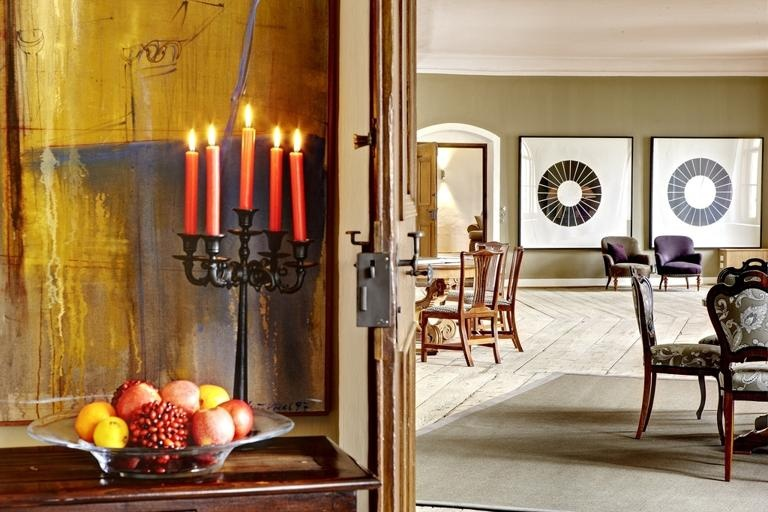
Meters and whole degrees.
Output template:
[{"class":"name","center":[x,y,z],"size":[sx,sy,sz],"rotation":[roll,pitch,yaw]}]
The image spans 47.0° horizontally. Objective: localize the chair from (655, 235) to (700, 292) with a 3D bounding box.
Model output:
[{"class":"chair","center":[3.950,0.053,12.092],"size":[0.717,0.764,0.765],"rotation":[0,-2,0]}]

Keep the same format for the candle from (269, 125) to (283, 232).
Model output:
[{"class":"candle","center":[-0.353,-0.247,2.870],"size":[0.050,0.349,0.048],"rotation":[3,-7,-26]}]

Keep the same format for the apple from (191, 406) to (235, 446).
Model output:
[{"class":"apple","center":[-0.481,0.487,2.489],"size":[0.131,0.107,0.122],"rotation":[3,-22,-25]}]

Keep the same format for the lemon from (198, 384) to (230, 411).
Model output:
[{"class":"lemon","center":[-0.500,0.424,2.620],"size":[0.080,0.070,0.072],"rotation":[5,-27,-29]}]

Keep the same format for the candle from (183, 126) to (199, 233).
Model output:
[{"class":"candle","center":[-0.631,-0.248,2.898],"size":[0.053,0.348,0.241],"rotation":[-2,6,-12]}]

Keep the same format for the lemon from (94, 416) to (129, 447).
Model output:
[{"class":"lemon","center":[-0.743,0.493,2.417],"size":[0.089,0.078,0.080],"rotation":[8,14,17]}]

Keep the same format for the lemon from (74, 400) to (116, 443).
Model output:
[{"class":"lemon","center":[-0.813,0.465,2.456],"size":[0.111,0.105,0.117],"rotation":[10,-9,-38]}]

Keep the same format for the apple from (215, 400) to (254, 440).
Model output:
[{"class":"apple","center":[-0.436,0.478,2.546],"size":[0.120,0.104,0.113],"rotation":[-1,28,5]}]

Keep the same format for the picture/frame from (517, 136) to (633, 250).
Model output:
[{"class":"picture/frame","center":[2.631,-0.933,12.559],"size":[2.019,1.664,0.068],"rotation":[0,1,-6]}]

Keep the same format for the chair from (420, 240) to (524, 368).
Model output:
[{"class":"chair","center":[0.667,0.375,7.141],"size":[0.838,0.987,1.283],"rotation":[1,6,16]}]

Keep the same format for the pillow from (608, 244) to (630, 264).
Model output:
[{"class":"pillow","center":[3.217,-0.032,12.085],"size":[0.346,0.243,0.188],"rotation":[-5,7,-37]}]

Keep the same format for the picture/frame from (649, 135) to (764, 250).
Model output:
[{"class":"picture/frame","center":[4.566,-0.992,12.724],"size":[1.960,1.672,0.066],"rotation":[0,-1,-5]}]
